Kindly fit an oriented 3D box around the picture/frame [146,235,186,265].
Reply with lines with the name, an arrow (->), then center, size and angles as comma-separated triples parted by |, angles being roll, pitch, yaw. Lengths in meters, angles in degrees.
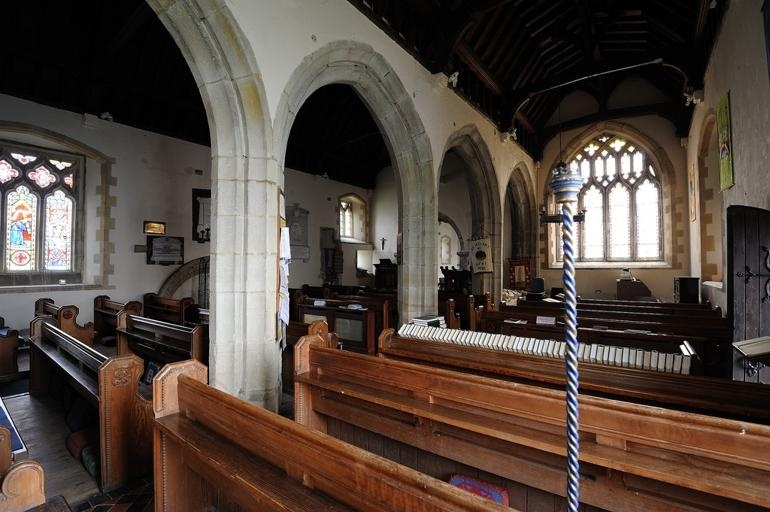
picture/frame -> -4.644, -0.106, 10.672 | 0.583, 0.588, 0.080 | 3, -8, -37
